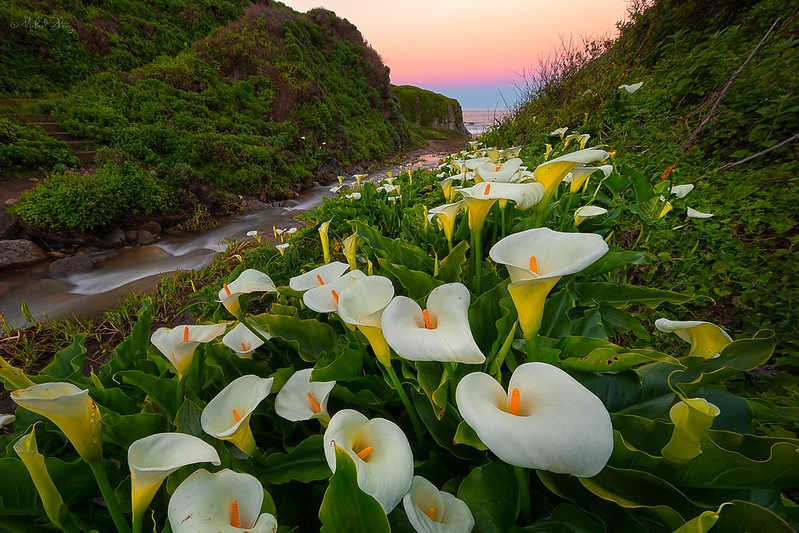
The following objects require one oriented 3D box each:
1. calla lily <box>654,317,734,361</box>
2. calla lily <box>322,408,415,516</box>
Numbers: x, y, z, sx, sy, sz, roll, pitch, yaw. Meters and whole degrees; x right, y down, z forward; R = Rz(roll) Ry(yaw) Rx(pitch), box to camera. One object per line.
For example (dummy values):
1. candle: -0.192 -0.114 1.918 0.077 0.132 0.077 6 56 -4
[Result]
1. calla lily: 2.040 0.527 2.958 0.502 0.192 0.427 -4 -16 -27
2. calla lily: -0.209 1.218 2.615 0.589 0.262 0.738 27 14 -19
